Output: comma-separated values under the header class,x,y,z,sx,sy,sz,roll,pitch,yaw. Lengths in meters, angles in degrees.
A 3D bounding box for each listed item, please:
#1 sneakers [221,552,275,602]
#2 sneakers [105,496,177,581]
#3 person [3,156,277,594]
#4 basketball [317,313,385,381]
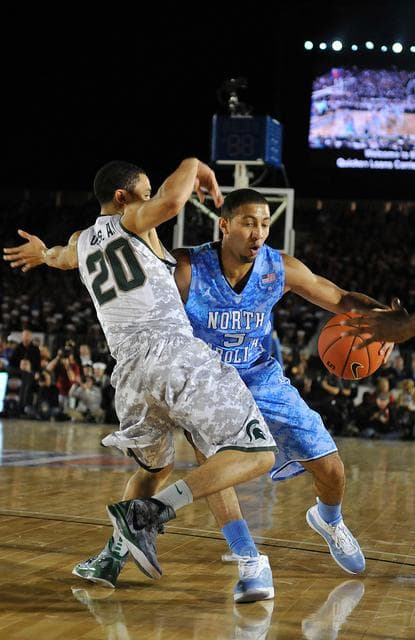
class,x,y,z,sx,sy,sz,roll,pitch,yaw
sneakers,0.134,0.869,1.907,0.143,0.154,0.359,-1,-20,4
sneakers,-0.181,0.622,1.588,0.185,0.248,0.090,-5,9,-10
person,-0.216,0.176,2.035,0.666,1.507,1.076,-6,9,-16
basketball,0.633,0.148,2.519,0.241,0.259,0.232,-17,18,-38
